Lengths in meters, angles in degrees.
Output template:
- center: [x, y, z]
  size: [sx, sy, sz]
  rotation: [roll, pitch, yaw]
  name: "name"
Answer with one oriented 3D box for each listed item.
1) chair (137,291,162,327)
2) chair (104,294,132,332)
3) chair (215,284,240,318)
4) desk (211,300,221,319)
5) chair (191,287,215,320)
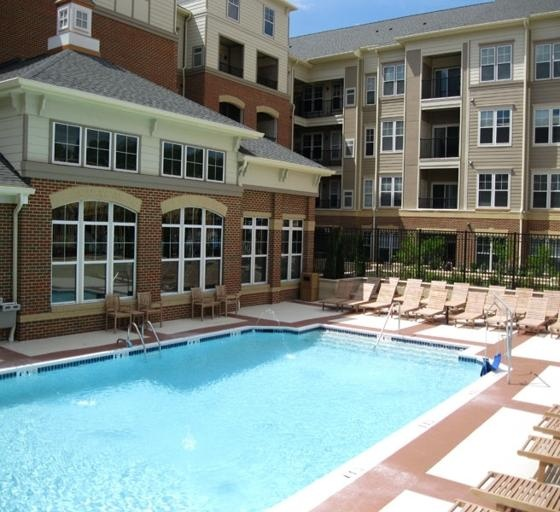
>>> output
- center: [-4.326, 1.736, 15.697]
  size: [0.894, 1.076, 0.846]
  rotation: [5, 2, 10]
  name: "chair"
- center: [-5.063, 1.761, 15.073]
  size: [0.995, 1.099, 0.931]
  rotation: [8, 6, 41]
  name: "chair"
- center: [-2.133, 1.720, 18.923]
  size: [0.650, 1.124, 1.561]
  rotation: [5, 5, 16]
  name: "chair"
- center: [-2.423, 2.012, 18.466]
  size: [0.492, 0.613, 0.466]
  rotation: [-2, 4, -19]
  name: "desk"
- center: [-2.878, 1.745, 17.978]
  size: [0.775, 1.122, 1.134]
  rotation: [6, 5, 27]
  name: "chair"
